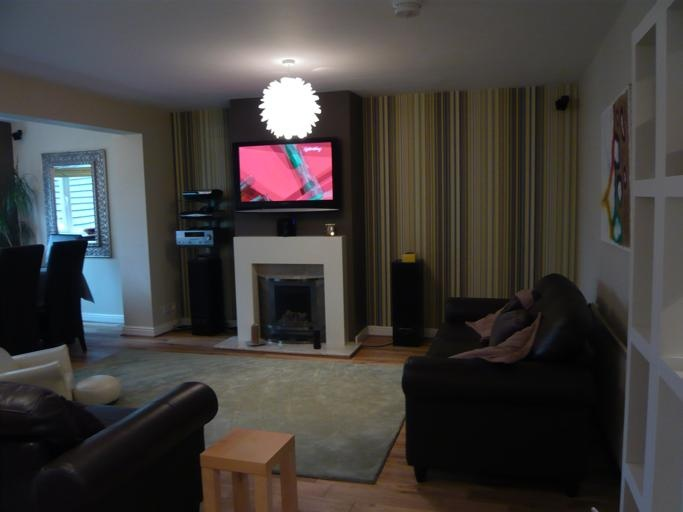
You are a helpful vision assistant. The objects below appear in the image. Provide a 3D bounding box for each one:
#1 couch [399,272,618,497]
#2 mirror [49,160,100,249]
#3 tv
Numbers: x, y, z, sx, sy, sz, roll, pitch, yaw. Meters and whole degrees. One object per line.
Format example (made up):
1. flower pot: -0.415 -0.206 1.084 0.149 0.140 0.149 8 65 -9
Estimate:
1. couch: 1.176 0.791 3.641 1.255 1.098 1.382 2 10 20
2. mirror: -3.517 -0.709 6.977 0.615 1.128 0.027 -3 -28 -29
3. tv: -0.550 -0.820 5.861 1.033 0.965 0.176 1 3 13
